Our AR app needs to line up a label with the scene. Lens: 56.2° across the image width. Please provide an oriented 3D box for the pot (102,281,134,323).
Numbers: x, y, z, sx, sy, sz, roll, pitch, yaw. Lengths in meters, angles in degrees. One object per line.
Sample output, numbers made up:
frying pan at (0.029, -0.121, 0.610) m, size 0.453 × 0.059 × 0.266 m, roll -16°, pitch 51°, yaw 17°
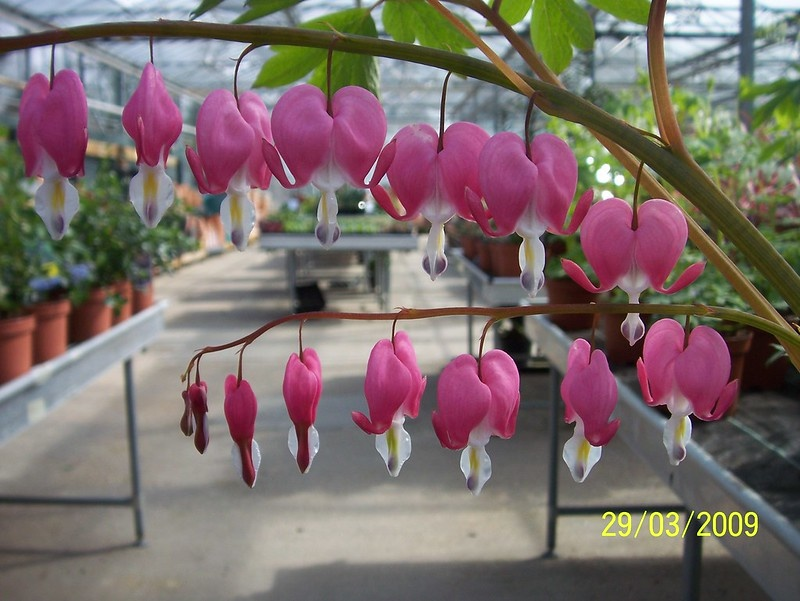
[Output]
pot at (-0.787, 0.004, 2.114) m, size 0.087 × 0.085 × 0.101 m, roll -2°, pitch 0°, yaw -2°

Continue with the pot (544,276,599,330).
pot at (0.440, 0.008, 1.939) m, size 0.128 × 0.169 × 0.142 m, roll -2°, pitch 9°, yaw -8°

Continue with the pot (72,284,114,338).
pot at (-0.749, 0.035, 1.829) m, size 0.074 × 0.086 × 0.105 m, roll 0°, pitch 8°, yaw -3°

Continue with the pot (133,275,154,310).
pot at (-0.830, -0.029, 2.370) m, size 0.072 × 0.101 × 0.080 m, roll 0°, pitch -3°, yaw -1°

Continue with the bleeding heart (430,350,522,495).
bleeding heart at (0.089, 0.141, 0.890) m, size 0.100 × 0.161 × 0.089 m, roll 2°, pitch 7°, yaw 0°

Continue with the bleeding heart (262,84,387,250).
bleeding heart at (-0.085, -0.166, 0.900) m, size 0.149 × 0.218 × 0.169 m, roll 9°, pitch 21°, yaw 17°

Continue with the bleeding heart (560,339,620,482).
bleeding heart at (0.221, 0.126, 0.880) m, size 0.063 × 0.153 × 0.065 m, roll 3°, pitch 8°, yaw 14°

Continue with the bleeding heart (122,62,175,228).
bleeding heart at (-0.290, -0.179, 0.878) m, size 0.063 × 0.187 × 0.105 m, roll -1°, pitch 8°, yaw -21°

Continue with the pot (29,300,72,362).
pot at (-0.666, 0.057, 1.450) m, size 0.084 × 0.110 × 0.098 m, roll 2°, pitch 1°, yaw 5°

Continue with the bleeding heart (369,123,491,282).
bleeding heart at (0.045, -0.126, 0.911) m, size 0.155 × 0.189 × 0.157 m, roll -9°, pitch 16°, yaw -23°

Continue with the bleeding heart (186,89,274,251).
bleeding heart at (-0.200, -0.153, 0.895) m, size 0.094 × 0.190 × 0.156 m, roll 0°, pitch 8°, yaw -11°

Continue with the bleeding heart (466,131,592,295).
bleeding heart at (0.153, -0.099, 0.871) m, size 0.122 × 0.198 × 0.122 m, roll -5°, pitch 22°, yaw -6°

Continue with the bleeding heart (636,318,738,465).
bleeding heart at (0.339, 0.105, 0.887) m, size 0.086 × 0.152 × 0.065 m, roll 0°, pitch 7°, yaw -13°

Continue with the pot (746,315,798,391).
pot at (0.940, 0.119, 1.942) m, size 0.147 × 0.197 × 0.161 m, roll -1°, pitch 6°, yaw 0°

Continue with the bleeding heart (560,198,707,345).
bleeding heart at (0.274, -0.041, 0.891) m, size 0.144 × 0.177 × 0.165 m, roll 2°, pitch -8°, yaw 24°

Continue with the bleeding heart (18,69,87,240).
bleeding heart at (-0.401, -0.168, 0.869) m, size 0.078 × 0.193 × 0.078 m, roll -1°, pitch 8°, yaw -18°
